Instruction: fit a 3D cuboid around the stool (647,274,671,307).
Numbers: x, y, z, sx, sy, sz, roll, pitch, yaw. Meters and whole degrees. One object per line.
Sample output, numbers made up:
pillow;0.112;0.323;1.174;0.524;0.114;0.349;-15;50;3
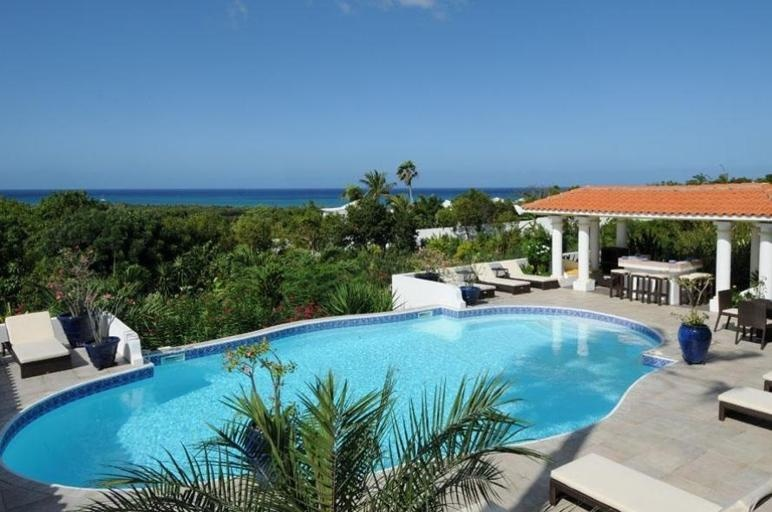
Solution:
stool;8.326;0.992;16.634;0.613;0.885;0.766;6;12;31

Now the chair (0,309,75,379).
chair;-7.859;1.942;12.264;1.085;0.986;1.841;-6;14;-38

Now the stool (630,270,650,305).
stool;7.910;0.957;17.070;0.501;0.850;0.786;5;11;24

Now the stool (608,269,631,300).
stool;7.609;0.854;17.790;0.565;0.871;1.476;4;11;22
